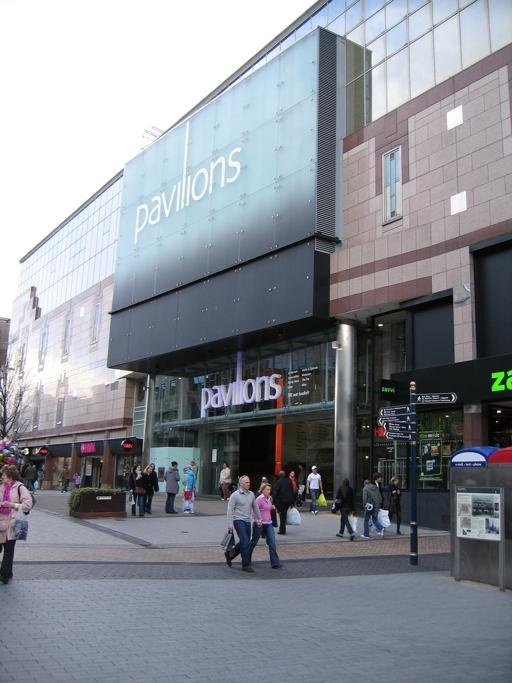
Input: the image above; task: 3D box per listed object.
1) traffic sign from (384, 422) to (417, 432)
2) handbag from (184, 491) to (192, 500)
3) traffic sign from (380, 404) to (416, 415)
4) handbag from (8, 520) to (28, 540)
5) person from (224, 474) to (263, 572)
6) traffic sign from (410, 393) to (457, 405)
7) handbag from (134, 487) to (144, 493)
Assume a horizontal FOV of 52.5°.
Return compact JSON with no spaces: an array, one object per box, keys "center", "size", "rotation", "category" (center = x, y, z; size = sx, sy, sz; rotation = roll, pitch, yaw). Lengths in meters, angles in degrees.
[{"center":[3.195,1.862,11.375],"size":[0.744,0.231,0.159],"rotation":[4,-11,-21],"category":"traffic sign"},{"center":[-2.571,5.918,20.229],"size":[0.353,0.316,0.272],"rotation":[5,-5,-42],"category":"handbag"},{"center":[3.154,1.529,11.487],"size":[0.722,0.234,0.259],"rotation":[-3,-11,15],"category":"traffic sign"},{"center":[-3.154,2.457,6.853],"size":[0.236,0.294,0.151],"rotation":[10,-22,-39],"category":"handbag"},{"center":[-0.217,3.341,9.655],"size":[0.673,1.725,1.032],"rotation":[0,-10,-2],"category":"person"},{"center":[4.200,1.274,11.991],"size":[0.789,0.257,1.303],"rotation":[-5,-11,25],"category":"traffic sign"},{"center":[-4.158,5.307,18.684],"size":[0.190,0.260,0.082],"rotation":[2,-29,-33],"category":"handbag"}]
